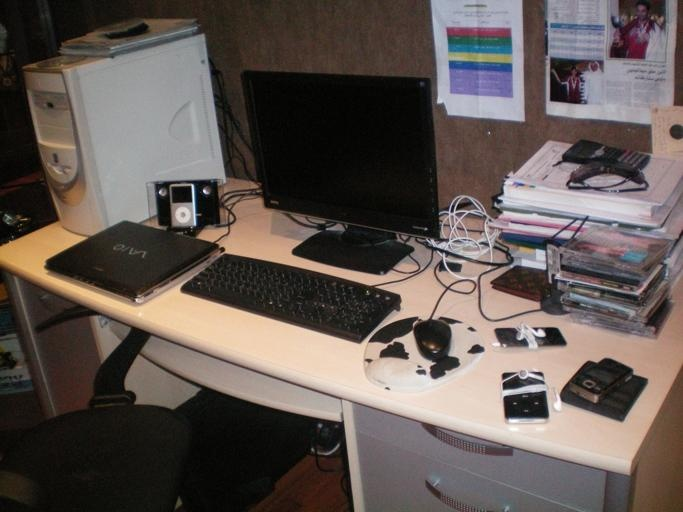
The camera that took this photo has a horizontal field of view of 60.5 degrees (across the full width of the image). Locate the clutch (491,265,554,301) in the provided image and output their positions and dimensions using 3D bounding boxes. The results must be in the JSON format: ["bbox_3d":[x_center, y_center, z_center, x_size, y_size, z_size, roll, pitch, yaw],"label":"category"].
[{"bbox_3d":[0.437,0.067,1.402,0.103,0.031,0.134,-18,27,-41],"label":"clutch"}]

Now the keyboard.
[{"bbox_3d":[-0.144,0.097,1.481,0.525,0.077,0.219,13,19,20],"label":"keyboard"}]

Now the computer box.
[{"bbox_3d":[-0.708,-0.426,1.940,0.314,0.538,0.560,18,37,27],"label":"computer box"}]

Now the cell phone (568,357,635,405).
[{"bbox_3d":[0.499,0.233,1.137,0.118,0.023,0.067,-26,31,-35],"label":"cell phone"}]

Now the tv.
[{"bbox_3d":[0.037,-0.266,1.562,0.672,0.520,0.121,19,29,34],"label":"tv"}]
